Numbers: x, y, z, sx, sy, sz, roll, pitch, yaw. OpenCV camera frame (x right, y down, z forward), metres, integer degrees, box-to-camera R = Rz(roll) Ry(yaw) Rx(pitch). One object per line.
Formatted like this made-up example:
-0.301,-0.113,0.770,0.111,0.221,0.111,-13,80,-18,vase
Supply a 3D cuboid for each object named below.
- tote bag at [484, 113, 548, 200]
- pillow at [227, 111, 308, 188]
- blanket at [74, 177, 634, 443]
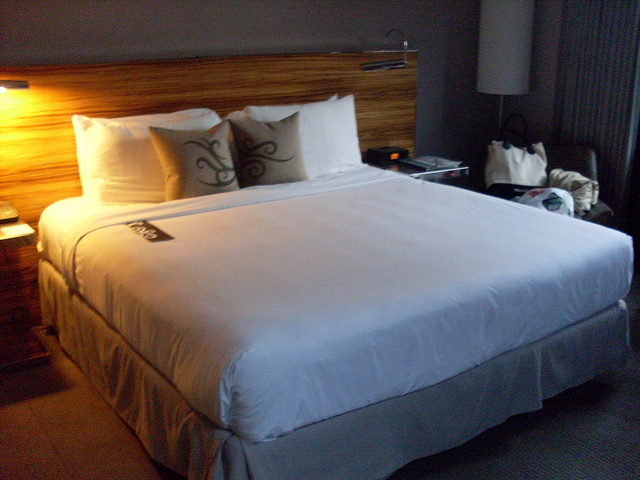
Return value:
1.645,-0.696,4.043,0.507,0.747,0.353,5,0,-4,tote bag
-0.351,-0.564,3.100,0.515,0.444,0.183,-10,12,-21,pillow
-0.043,0.095,3.106,2.817,0.860,2.311,-6,18,-27,blanket
